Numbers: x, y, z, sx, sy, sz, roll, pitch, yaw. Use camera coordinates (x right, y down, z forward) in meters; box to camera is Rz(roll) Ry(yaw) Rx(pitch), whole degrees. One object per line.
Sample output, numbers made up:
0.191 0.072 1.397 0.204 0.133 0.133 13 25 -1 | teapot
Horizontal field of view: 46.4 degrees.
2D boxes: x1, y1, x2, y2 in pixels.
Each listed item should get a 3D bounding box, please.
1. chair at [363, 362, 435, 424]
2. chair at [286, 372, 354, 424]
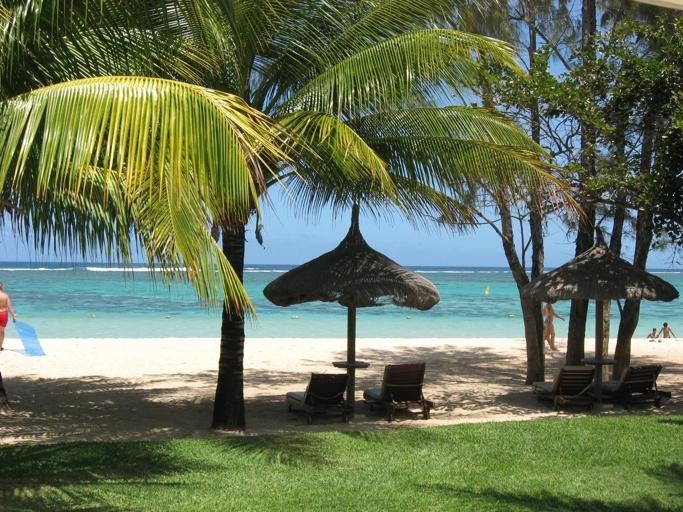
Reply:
1.009 2.210 13.518 1.000 0.876 1.101 2 -1 -14 | chair
-0.356 2.250 13.165 0.914 0.759 1.109 2 -1 -20 | chair
